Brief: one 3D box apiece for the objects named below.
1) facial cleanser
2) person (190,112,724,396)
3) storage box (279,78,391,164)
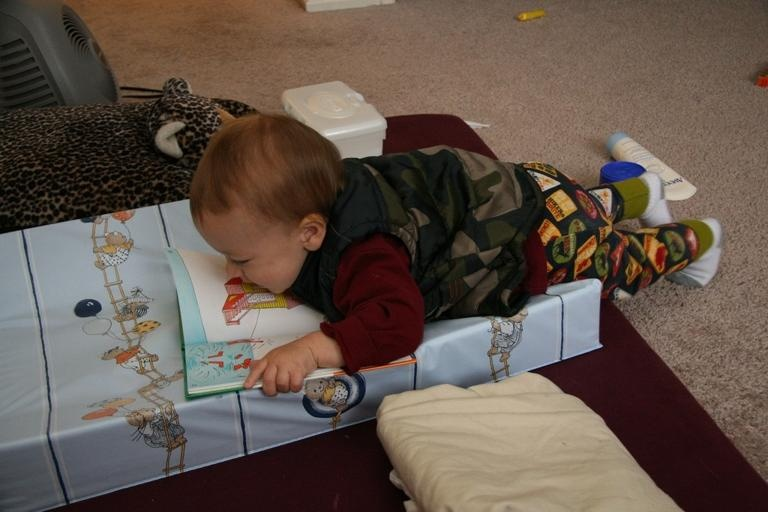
[{"bbox_3d":[0.958,-0.333,2.100,0.137,0.101,0.405,-8,38,-12],"label":"facial cleanser"},{"bbox_3d":[0.096,-0.102,1.576,1.160,0.584,1.194,0,31,-4],"label":"person"},{"bbox_3d":[-0.161,-0.407,1.773,0.226,0.182,0.321,-16,43,-21],"label":"storage box"}]
